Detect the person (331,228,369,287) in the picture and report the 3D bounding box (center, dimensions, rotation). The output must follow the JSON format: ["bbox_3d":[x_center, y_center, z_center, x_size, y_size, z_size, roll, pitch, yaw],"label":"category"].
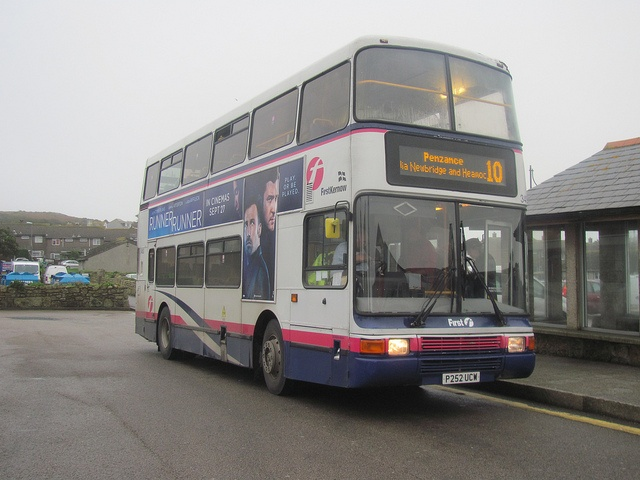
[{"bbox_3d":[0.429,0.338,7.211,0.146,0.622,0.718,-2,-1,-37],"label":"person"}]

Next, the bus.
[{"bbox_3d":[-1.225,-0.095,12.016,3.170,5.816,10.680,3,-5,-36],"label":"bus"}]
